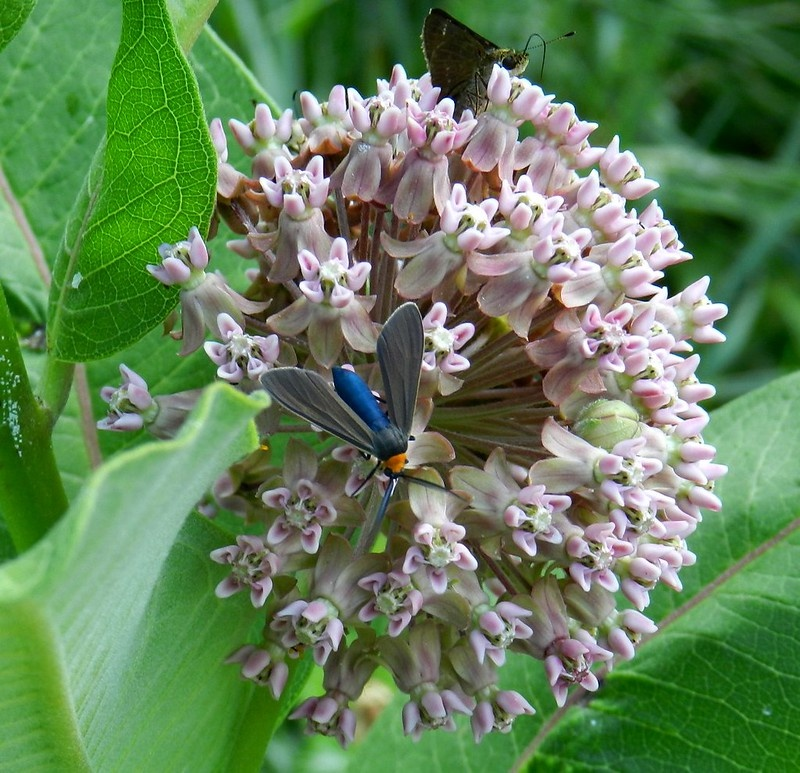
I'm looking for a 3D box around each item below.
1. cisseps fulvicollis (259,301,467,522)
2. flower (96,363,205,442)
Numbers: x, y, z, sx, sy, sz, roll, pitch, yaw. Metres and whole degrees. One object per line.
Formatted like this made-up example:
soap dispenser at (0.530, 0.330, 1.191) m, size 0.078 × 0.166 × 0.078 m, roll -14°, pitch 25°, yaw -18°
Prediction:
cisseps fulvicollis at (-0.026, 0.024, 1.067) m, size 0.222 × 0.104 × 0.236 m, roll 17°, pitch 56°, yaw 0°
flower at (-0.288, 0.031, 1.169) m, size 0.098 × 0.041 × 0.092 m, roll 28°, pitch 52°, yaw -22°
